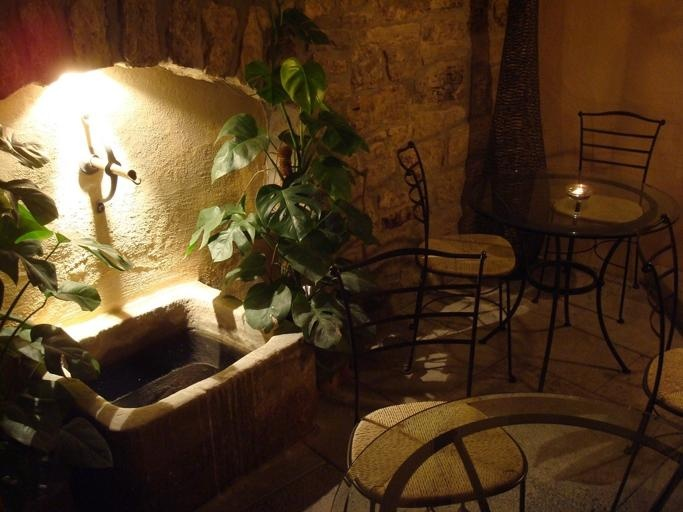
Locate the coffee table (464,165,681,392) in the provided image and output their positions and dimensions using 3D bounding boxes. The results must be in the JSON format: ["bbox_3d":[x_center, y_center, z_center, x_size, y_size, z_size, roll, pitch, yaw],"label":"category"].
[{"bbox_3d":[1.028,0.017,3.002,1.092,0.862,1.119,20,42,29],"label":"coffee table"}]
